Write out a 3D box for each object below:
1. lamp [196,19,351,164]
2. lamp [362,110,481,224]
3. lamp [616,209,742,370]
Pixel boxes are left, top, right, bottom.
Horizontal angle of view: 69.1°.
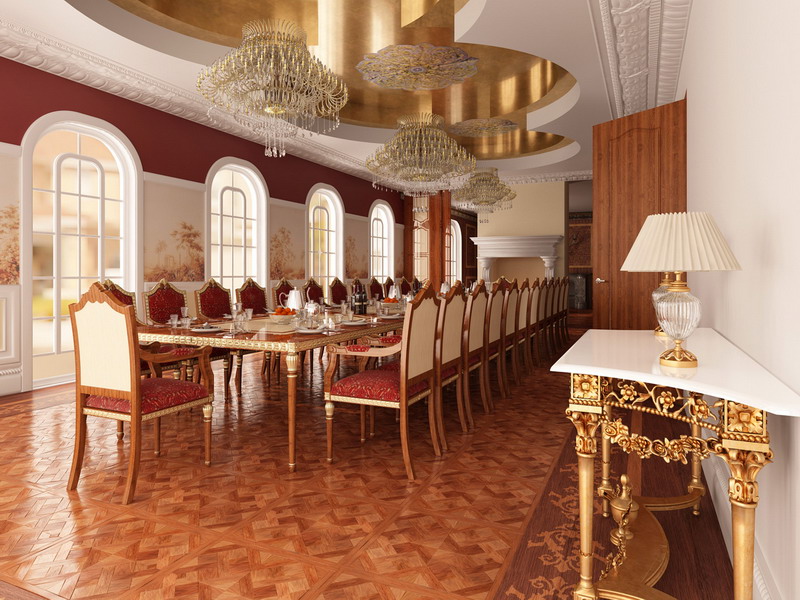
[{"bbox_3d":[-1.232,-2.101,5.697,1.093,1.050,1.097,11,16,33],"label":"lamp"},{"bbox_3d":[0.293,-1.943,7.890,1.427,0.991,1.413,0,4,30],"label":"lamp"},{"bbox_3d":[1.350,-0.045,2.812,0.562,0.701,0.555,1,0,6],"label":"lamp"}]
